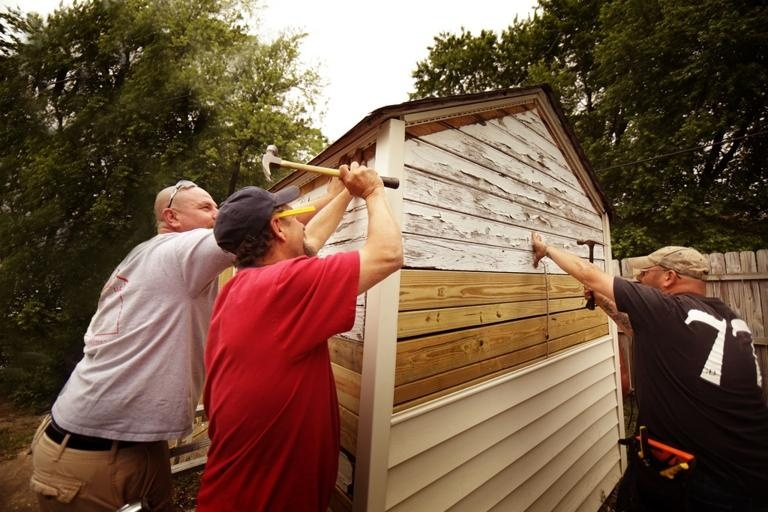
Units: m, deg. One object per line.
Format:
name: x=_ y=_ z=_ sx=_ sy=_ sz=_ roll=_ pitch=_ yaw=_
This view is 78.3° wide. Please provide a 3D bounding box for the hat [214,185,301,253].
hat: x=-2.078 y=-0.663 z=7.503 sx=0.678 sy=1.324 sz=0.818 roll=50 pitch=-11 yaw=-32
